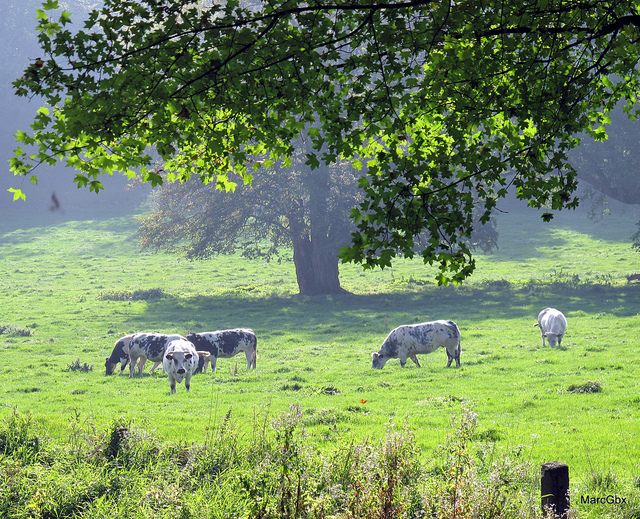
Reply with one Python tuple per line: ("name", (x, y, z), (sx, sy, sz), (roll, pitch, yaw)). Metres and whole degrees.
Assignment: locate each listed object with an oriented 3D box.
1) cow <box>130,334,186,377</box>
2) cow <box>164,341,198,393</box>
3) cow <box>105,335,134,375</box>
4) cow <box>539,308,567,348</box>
("cow", (-5.404, 3.285, 27.056), (2.571, 1.501, 0.703), (5, 2, 25))
("cow", (-4.265, 3.251, 24.821), (0.947, 1.604, 1.413), (2, -9, -7))
("cow", (-6.834, 3.226, 27.552), (0.801, 1.341, 1.029), (4, -10, -16))
("cow", (8.746, 2.555, 30.454), (0.781, 1.568, 1.556), (0, -9, 5))
